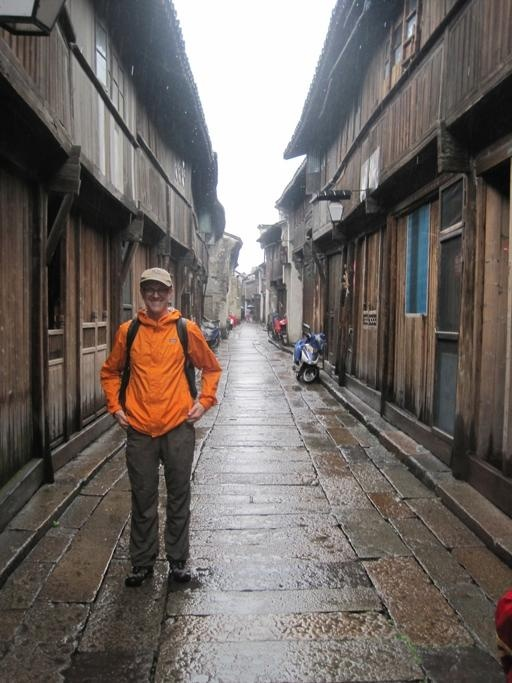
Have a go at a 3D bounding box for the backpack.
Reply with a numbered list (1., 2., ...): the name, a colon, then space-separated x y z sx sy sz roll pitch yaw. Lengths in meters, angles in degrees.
1. backpack: -0.605 0.032 2.901 0.372 0.665 0.403 -7 38 -24

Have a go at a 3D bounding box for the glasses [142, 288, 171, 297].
1. glasses: -0.580 -0.291 2.778 0.122 0.060 0.036 1 0 -12

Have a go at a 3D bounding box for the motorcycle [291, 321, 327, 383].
1. motorcycle: 1.269 0.264 12.353 0.428 1.387 1.488 15 3 -16

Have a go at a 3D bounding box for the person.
1. person: -0.567 0.490 2.895 0.709 1.919 0.344 0 0 -25

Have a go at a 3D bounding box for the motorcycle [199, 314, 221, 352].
1. motorcycle: -1.998 -0.345 21.316 0.606 1.602 2.113 0 -1 -4

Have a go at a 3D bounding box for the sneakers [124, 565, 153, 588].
1. sneakers: -0.689 1.364 2.787 0.052 0.118 0.191 4 -14 10
